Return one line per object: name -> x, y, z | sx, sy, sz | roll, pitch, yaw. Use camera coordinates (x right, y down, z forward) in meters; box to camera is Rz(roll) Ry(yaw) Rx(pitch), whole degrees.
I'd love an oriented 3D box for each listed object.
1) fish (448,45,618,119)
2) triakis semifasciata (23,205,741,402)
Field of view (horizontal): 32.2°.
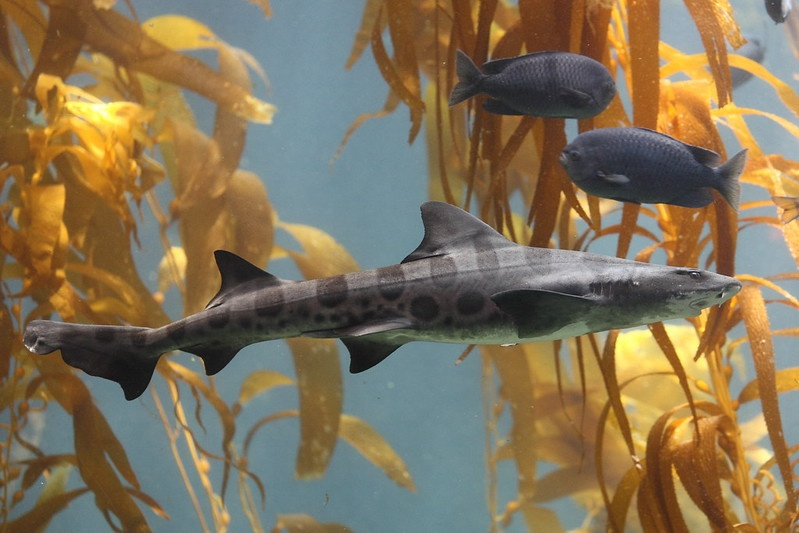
fish -> 0.628, -0.817, 6.252 | 0.811, 0.309, 0.231 | 0, 3, -17
triakis semifasciata -> -0.439, 0.216, 6.636 | 3.913, 0.952, 1.104 | -3, 10, 5
